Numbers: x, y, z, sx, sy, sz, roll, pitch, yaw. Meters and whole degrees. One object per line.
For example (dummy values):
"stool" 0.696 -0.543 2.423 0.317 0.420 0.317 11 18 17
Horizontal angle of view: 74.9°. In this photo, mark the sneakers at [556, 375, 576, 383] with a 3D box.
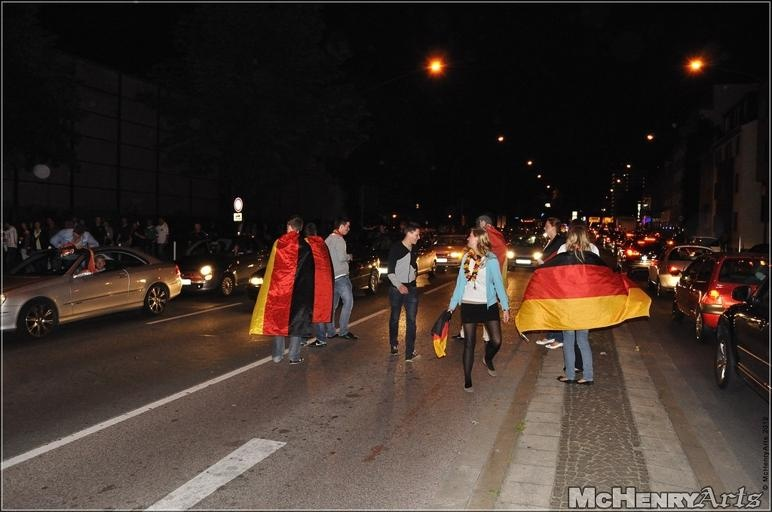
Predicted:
"sneakers" 2.887 1.978 8.028 0.211 0.092 0.115 9 10 36

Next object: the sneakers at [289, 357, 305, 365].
"sneakers" -1.588 1.889 9.050 0.098 0.104 0.282 7 9 36

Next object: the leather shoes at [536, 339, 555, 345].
"leather shoes" 3.283 1.751 10.346 0.337 0.140 0.124 0 -2 -10

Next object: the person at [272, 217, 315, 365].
"person" -1.674 0.620 9.181 0.731 2.651 1.013 0 7 -2

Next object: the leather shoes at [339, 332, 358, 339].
"leather shoes" -0.786 1.718 10.827 0.408 0.181 0.146 1 1 -3

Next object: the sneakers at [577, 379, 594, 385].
"sneakers" 3.147 1.987 7.925 0.221 0.063 0.083 4 5 34

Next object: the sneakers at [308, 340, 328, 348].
"sneakers" -1.366 1.775 10.201 0.350 0.155 0.156 2 1 12

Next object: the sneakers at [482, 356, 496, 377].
"sneakers" 1.721 1.873 8.389 0.070 0.361 0.172 -3 42 33

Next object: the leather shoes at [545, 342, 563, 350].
"leather shoes" 3.381 1.806 10.095 0.372 0.101 0.143 10 -6 -44

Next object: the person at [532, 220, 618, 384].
"person" 3.030 0.729 8.061 0.643 2.542 0.794 3 7 22

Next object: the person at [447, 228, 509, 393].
"person" 1.461 0.815 7.748 0.825 2.476 1.049 4 8 28
